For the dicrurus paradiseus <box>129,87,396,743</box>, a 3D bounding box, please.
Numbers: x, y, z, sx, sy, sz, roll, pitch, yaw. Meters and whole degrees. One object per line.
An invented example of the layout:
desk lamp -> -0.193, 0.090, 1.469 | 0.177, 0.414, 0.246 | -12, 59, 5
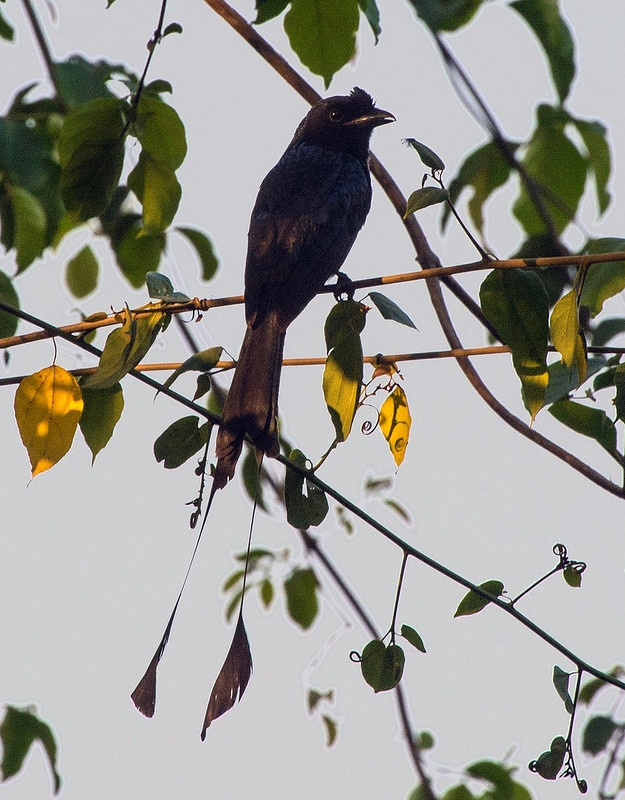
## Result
dicrurus paradiseus -> -0.074, -0.134, 2.897 | 0.374, 0.356, 1.491 | 15, -92, -48
